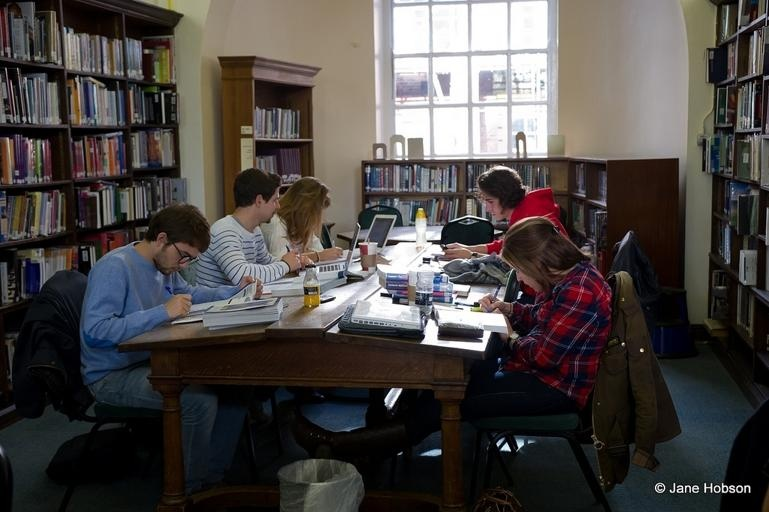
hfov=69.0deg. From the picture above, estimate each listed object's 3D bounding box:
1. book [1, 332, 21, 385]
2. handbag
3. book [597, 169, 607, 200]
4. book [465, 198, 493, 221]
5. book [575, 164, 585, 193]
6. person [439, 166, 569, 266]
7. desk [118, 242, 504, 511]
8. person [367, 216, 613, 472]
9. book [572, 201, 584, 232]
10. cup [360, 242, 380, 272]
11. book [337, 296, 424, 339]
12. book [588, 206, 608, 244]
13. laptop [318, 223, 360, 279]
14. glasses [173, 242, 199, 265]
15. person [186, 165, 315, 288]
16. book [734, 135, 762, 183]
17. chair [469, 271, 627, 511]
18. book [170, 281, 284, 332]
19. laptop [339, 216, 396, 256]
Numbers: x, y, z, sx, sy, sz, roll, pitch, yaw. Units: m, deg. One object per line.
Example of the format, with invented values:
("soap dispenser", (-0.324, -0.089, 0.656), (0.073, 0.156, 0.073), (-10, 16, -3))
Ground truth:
("book", (-2.799, 0.772, 4.153), (0.103, 0.363, 0.288), (-8, 11, -31))
("handbag", (-1.728, 1.141, 3.258), (0.443, 0.148, 0.459), (-3, 1, -1))
("book", (2.231, -0.702, 5.758), (0.048, 0.285, 0.354), (-1, 10, 12))
("book", (1.050, -0.497, 6.322), (0.300, 0.319, 0.173), (1, -3, -14))
("book", (2.294, -0.879, 6.568), (0.116, 0.340, 0.343), (0, 7, 5))
("person", (0.907, -0.303, 4.297), (0.885, 0.667, 0.576), (-7, 11, 9))
("desk", (-0.386, 0.504, 2.630), (1.027, 0.662, 1.327), (0, 4, 7))
("person", (0.621, 0.376, 2.860), (0.961, 0.387, 1.620), (-5, 16, 12))
("book", (2.305, -0.442, 6.669), (0.118, 0.390, 0.344), (0, 4, 1))
("cup", (-0.115, 0.015, 3.865), (0.166, 0.224, 0.150), (-7, 7, -38))
("book", (-0.022, 0.306, 2.672), (0.402, 0.126, 0.273), (-3, 10, 0))
("book", (2.182, -0.291, 5.715), (0.182, 0.361, 0.351), (1, 6, 3))
("laptop", (-0.403, -0.039, 4.641), (0.273, 0.222, 0.349), (20, 7, 0))
("glasses", (-1.073, -0.003, 2.961), (0.119, 0.037, 0.116), (41, 13, 31))
("person", (-0.909, -0.138, 3.902), (0.718, 0.815, 0.898), (1, 8, -3))
("book", (2.835, -0.723, 4.348), (0.207, 0.394, 0.390), (2, 5, 30))
("chair", (1.016, 0.734, 3.682), (1.081, 1.964, 1.060), (1, 1, 7))
("book", (-0.707, 0.274, 2.722), (0.293, 0.118, 0.309), (-7, 10, -29))
("laptop", (-0.154, -0.189, 4.581), (0.381, 0.308, 0.445), (6, 1, -17))
